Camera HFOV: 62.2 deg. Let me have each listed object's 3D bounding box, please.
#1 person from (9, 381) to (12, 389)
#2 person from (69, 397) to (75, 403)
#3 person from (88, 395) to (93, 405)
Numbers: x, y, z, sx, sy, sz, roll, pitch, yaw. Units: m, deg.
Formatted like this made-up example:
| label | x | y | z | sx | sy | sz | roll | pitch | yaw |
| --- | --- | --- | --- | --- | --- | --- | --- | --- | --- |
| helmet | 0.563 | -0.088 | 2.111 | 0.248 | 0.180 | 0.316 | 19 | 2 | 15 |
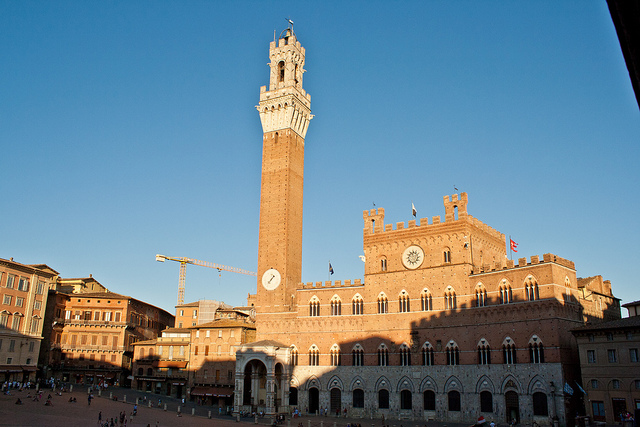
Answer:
| label | x | y | z | sx | sy | sz | roll | pitch | yaw |
| --- | --- | --- | --- | --- | --- | --- | --- | --- | --- |
| person | -43.338 | 24.143 | 74.055 | 0.418 | 0.969 | 2.395 | 13 | -25 | -28 |
| person | -32.140 | 24.329 | 68.520 | 0.546 | 0.590 | 1.550 | 13 | -25 | -28 |
| person | -30.234 | 24.682 | 69.565 | 0.491 | 1.512 | 1.198 | -5 | -3 | -17 |
